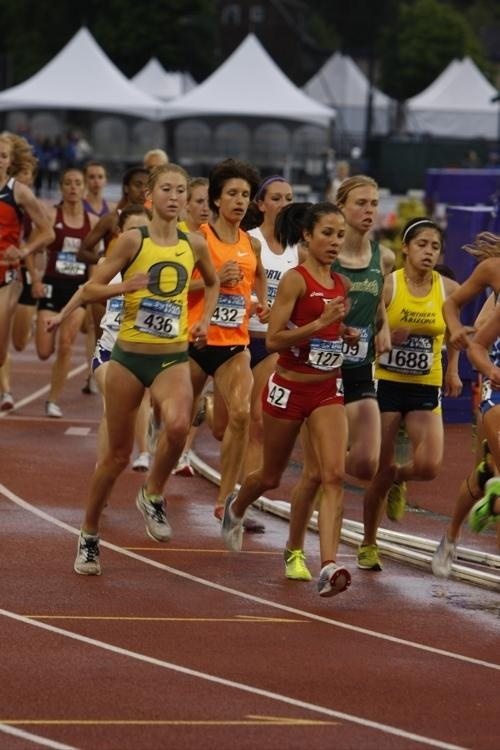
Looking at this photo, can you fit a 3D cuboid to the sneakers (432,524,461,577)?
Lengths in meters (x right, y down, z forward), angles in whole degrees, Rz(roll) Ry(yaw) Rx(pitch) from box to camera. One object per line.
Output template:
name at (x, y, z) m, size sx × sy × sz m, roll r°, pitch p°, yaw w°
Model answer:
sneakers at (1.056, 0.988, 4.029) m, size 0.093 × 0.279 × 0.207 m, roll 3°, pitch -3°, yaw -1°

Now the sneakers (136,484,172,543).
sneakers at (-0.462, 0.677, 3.551) m, size 0.152 × 0.255 × 0.261 m, roll 3°, pitch -3°, yaw -9°

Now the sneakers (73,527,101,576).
sneakers at (-0.849, 0.900, 3.853) m, size 0.127 × 0.122 × 0.274 m, roll 1°, pitch 43°, yaw -15°

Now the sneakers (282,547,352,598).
sneakers at (0.302, 0.915, 3.377) m, size 0.170 × 0.210 × 0.495 m, roll -19°, pitch -19°, yaw -4°

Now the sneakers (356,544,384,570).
sneakers at (0.694, 1.058, 4.297) m, size 0.093 × 0.091 × 0.206 m, roll 1°, pitch -1°, yaw -13°

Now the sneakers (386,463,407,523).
sneakers at (0.895, 0.761, 4.548) m, size 0.157 × 0.432 × 0.204 m, roll 2°, pitch -5°, yaw 9°

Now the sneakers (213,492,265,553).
sneakers at (-0.071, 0.854, 4.102) m, size 0.151 × 0.414 × 0.171 m, roll -14°, pitch 15°, yaw -39°
